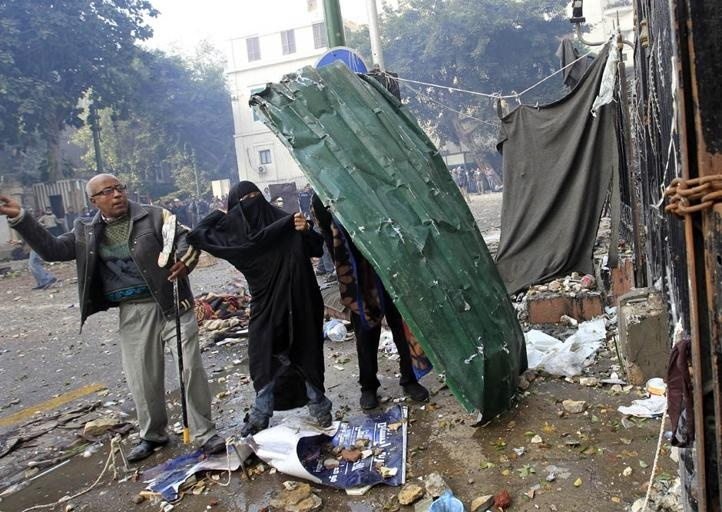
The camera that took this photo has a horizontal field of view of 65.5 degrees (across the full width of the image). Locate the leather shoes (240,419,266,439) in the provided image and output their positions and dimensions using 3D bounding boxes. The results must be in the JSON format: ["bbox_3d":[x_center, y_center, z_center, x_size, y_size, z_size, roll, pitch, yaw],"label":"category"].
[{"bbox_3d":[-0.882,1.424,4.633,0.220,0.086,0.159,-9,10,1],"label":"leather shoes"}]

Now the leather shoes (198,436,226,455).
[{"bbox_3d":[-1.216,1.533,4.575,0.258,0.106,0.145,0,13,43],"label":"leather shoes"}]

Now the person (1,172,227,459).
[{"bbox_3d":[-1.881,0.473,4.768,1.381,2.385,0.718,-7,10,10],"label":"person"}]

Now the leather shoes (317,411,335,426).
[{"bbox_3d":[-0.313,1.390,4.761,0.147,0.097,0.149,-9,10,2],"label":"leather shoes"}]

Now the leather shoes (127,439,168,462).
[{"bbox_3d":[-1.827,1.641,4.800,0.115,0.146,0.327,-1,4,36],"label":"leather shoes"}]
